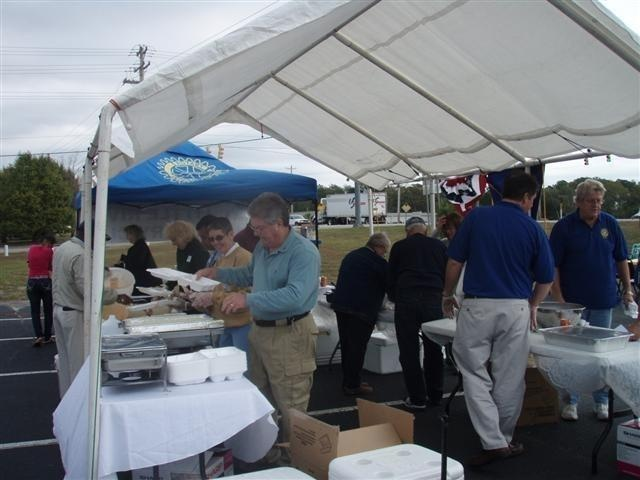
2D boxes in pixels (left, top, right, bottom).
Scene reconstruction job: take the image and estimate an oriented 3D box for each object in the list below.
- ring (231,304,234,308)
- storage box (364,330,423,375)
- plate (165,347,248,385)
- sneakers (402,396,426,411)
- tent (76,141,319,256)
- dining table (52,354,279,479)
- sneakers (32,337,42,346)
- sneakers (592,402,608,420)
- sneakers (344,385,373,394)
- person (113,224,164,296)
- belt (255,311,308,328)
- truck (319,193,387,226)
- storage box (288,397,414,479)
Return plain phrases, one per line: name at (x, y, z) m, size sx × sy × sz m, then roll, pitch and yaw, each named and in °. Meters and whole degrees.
ring at (-0.628, 0.473, 4.175) m, size 0.038 × 0.023 × 0.006 m, roll -1°, pitch -1°, yaw 21°
storage box at (0.914, 1.401, 7.216) m, size 0.514 × 0.485 × 0.715 m, roll -1°, pitch 2°, yaw -16°
plate at (-0.759, 0.832, 3.868) m, size 0.414 × 0.145 × 0.234 m, roll -4°, pitch 4°, yaw -20°
sneakers at (0.957, 1.663, 5.894) m, size 0.102 × 0.099 × 0.231 m, roll 1°, pitch 3°, yaw -31°
tent at (-2.084, -0.820, 8.297) m, size 3.033 × 1.178 × 3.144 m, roll -6°, pitch 2°, yaw -40°
dining table at (-0.961, 1.130, 3.716) m, size 1.198 × 0.469 × 1.157 m, roll 0°, pitch -1°, yaw -23°
sneakers at (-4.477, 1.609, 9.210) m, size 0.112 × 0.118 × 0.277 m, roll 0°, pitch -16°, yaw -26°
sneakers at (2.696, 1.631, 5.524) m, size 0.102 × 0.099 × 0.239 m, roll -6°, pitch -12°, yaw 3°
sneakers at (0.441, 1.658, 6.411) m, size 0.290 × 0.121 × 0.114 m, roll -2°, pitch -3°, yaw -6°
person at (-2.313, 0.386, 7.711) m, size 0.420 × 1.209 × 0.520 m, roll 4°, pitch 14°, yaw 24°
belt at (-0.295, 0.617, 4.485) m, size 0.408 × 0.113 × 0.146 m, roll 0°, pitch -1°, yaw -3°
truck at (2.441, -2.300, 43.875) m, size 4.671 × 2.244 × 1.683 m, roll 2°, pitch 3°, yaw 38°
storage box at (0.215, 1.328, 3.947) m, size 0.580 × 0.348 × 0.571 m, roll -4°, pitch -2°, yaw -25°
